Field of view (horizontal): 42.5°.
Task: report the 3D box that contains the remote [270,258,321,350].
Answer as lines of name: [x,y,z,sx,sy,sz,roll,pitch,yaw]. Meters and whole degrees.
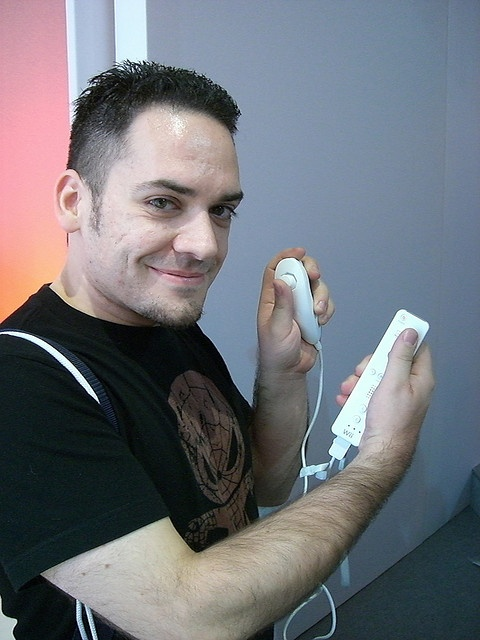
remote: [0.120,-0.034,1.181,0.048,0.152,0.090,-21,12,13]

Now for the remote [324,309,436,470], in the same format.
remote: [0.258,0.085,1.039,0.097,0.350,0.039,27,-8,45]
